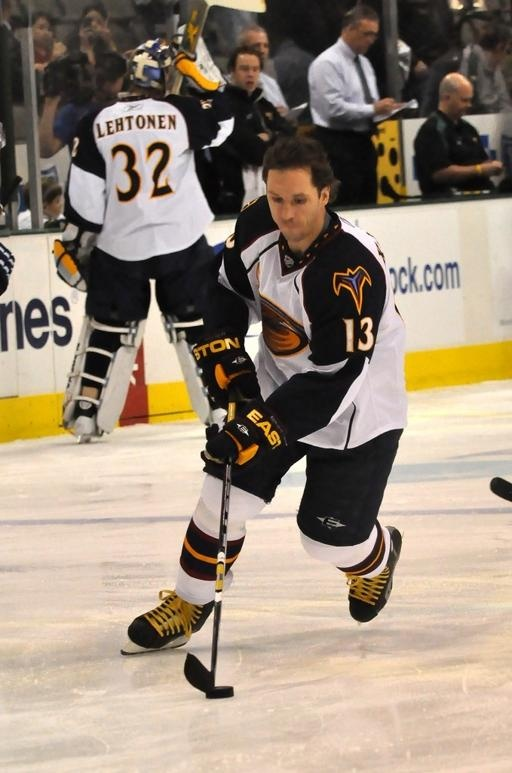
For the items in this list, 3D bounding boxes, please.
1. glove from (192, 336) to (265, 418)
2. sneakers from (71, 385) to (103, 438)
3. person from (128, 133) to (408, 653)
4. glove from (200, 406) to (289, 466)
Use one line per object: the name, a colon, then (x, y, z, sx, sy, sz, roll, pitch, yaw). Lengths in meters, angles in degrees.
glove: (-0.077, -0.005, 1.645, 0.133, 0.172, 0.076, 3, -36, -36)
sneakers: (-1.034, 0.149, 4.405, 0.180, 0.279, 0.119, 4, -9, 38)
person: (0.029, 0.053, 1.650, 0.619, 1.112, 0.594, -2, 7, 5)
glove: (-0.019, 0.103, 1.426, 0.145, 0.093, 0.056, -24, -29, -2)
